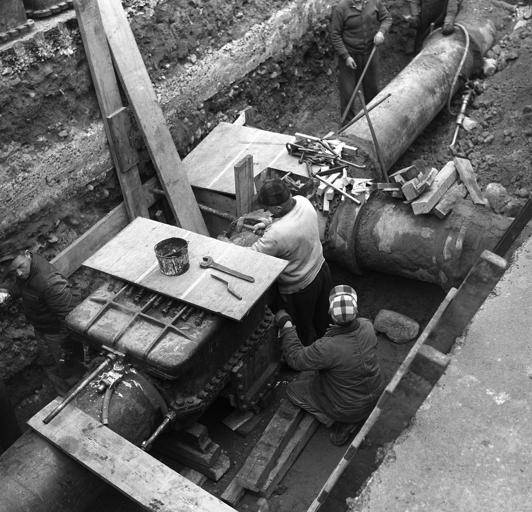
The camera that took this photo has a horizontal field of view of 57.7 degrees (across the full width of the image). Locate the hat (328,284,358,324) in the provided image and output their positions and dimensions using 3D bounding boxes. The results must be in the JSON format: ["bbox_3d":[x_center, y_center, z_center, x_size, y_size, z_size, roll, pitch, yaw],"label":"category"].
[{"bbox_3d":[0.610,0.362,3.765,0.207,0.262,0.363,7,44,11],"label":"hat"}]

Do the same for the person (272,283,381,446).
[{"bbox_3d":[0.556,0.858,4.135,0.674,1.479,0.907,-22,35,-27],"label":"person"}]

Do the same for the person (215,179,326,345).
[{"bbox_3d":[0.218,0.120,4.860,0.781,1.916,0.750,0,34,11],"label":"person"}]

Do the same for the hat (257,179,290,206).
[{"bbox_3d":[0.061,-0.589,4.317,0.182,0.162,0.269,-11,41,-1],"label":"hat"}]

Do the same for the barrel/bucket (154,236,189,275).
[{"bbox_3d":[-0.759,0.053,3.959,0.242,0.288,0.341,-4,31,4],"label":"barrel/bucket"}]
